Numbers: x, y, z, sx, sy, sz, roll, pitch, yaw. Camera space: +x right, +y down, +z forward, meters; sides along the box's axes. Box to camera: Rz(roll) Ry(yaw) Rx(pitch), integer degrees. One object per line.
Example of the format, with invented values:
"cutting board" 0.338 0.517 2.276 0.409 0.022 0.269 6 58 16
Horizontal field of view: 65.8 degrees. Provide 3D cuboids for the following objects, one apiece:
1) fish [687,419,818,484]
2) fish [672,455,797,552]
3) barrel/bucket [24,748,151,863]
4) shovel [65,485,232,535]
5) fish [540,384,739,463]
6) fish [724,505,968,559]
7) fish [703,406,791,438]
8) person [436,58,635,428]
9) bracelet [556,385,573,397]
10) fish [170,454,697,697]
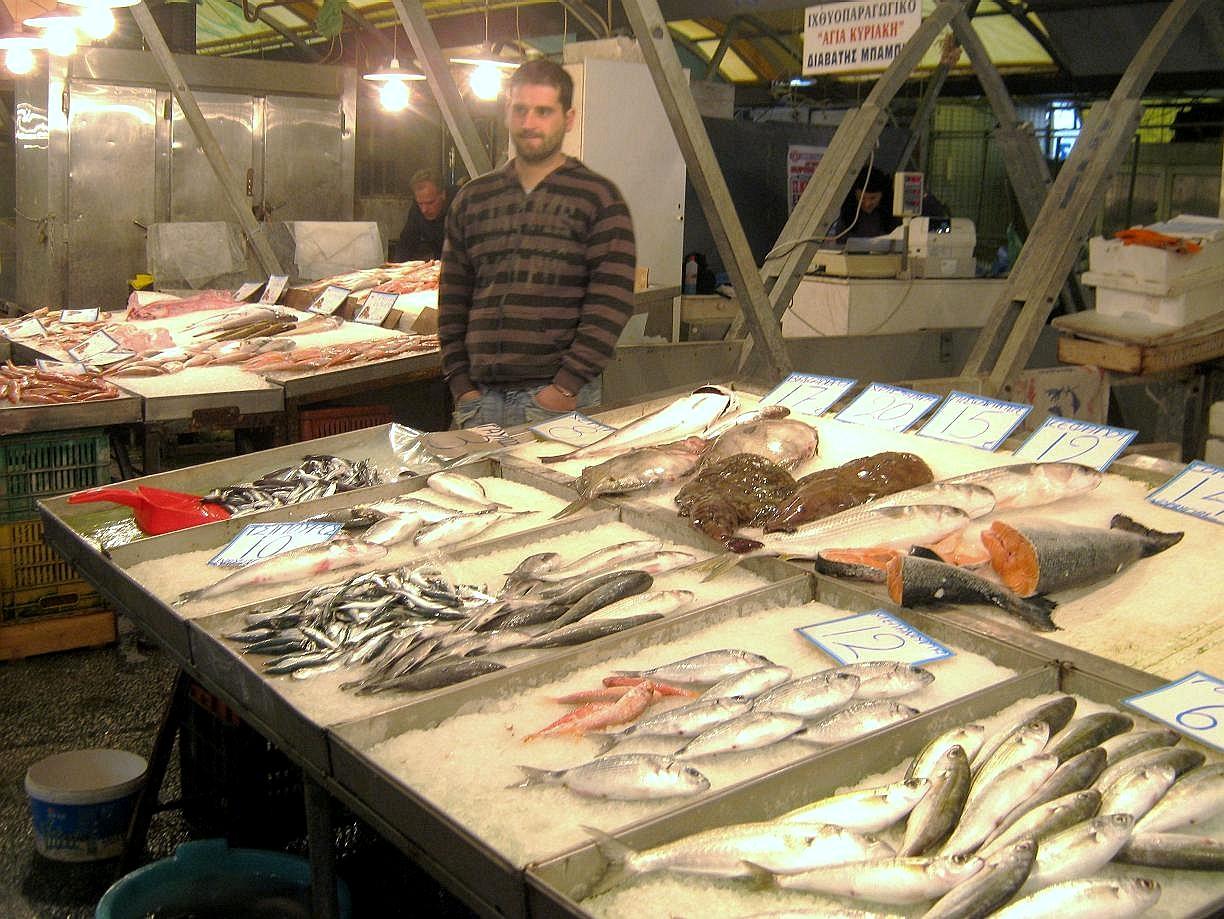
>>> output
"fish" 0.441 -0.046 2.706 0.278 0.065 0.180 -22 25 -29
"fish" 0.318 0.092 2.445 0.341 0.195 0.274 -4 14 -17
"barrel/bucket" -1.600 1.054 3.089 0.504 0.325 0.413 -1 6 -19
"shovel" -1.330 0.109 2.708 0.370 0.092 0.204 -3 16 -28
"fish" 0.073 -0.106 3.007 0.593 0.157 0.194 -20 -1 -13
"fish" 0.573 0.174 2.239 0.440 0.068 0.101 -4 24 10
"fish" 0.407 -0.113 2.877 0.278 0.047 0.075 -8 -17 18
"person" -0.354 -0.824 4.118 0.734 1.459 0.825 2 5 22
"bracelet" -0.189 -0.273 3.864 0.061 0.027 0.015 23 27 16
"fish" -0.412 0.286 2.279 0.926 0.034 0.775 -15 14 -29
